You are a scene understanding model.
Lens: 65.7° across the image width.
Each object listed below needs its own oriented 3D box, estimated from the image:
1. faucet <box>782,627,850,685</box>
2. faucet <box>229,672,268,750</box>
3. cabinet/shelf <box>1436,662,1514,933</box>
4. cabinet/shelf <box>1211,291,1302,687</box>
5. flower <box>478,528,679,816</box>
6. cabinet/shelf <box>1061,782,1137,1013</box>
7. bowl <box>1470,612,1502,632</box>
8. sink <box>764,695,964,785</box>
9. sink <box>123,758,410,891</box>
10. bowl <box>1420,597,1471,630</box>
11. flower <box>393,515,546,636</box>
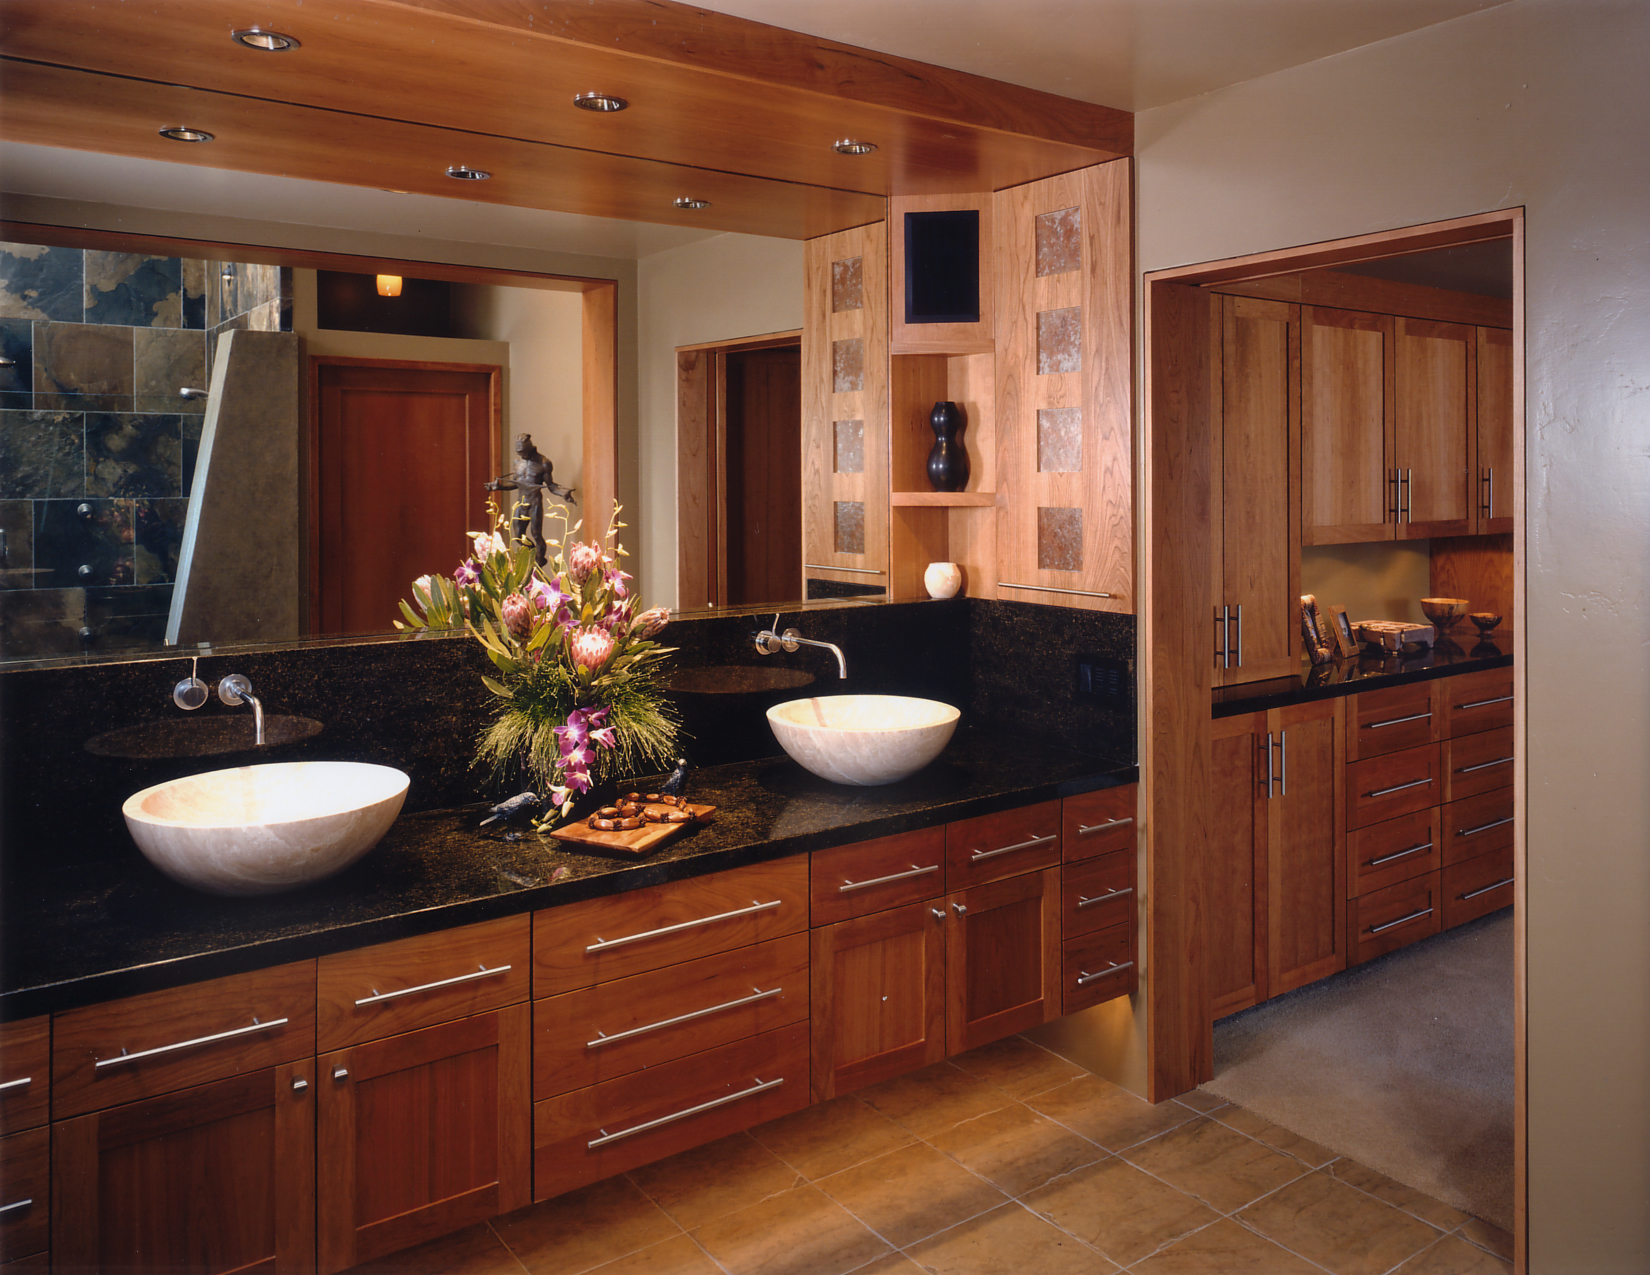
[{"bbox_3d":[-0.016,0.042,3.575,0.240,0.078,0.103,7,9,42],"label":"faucet"},{"bbox_3d":[-1.292,0.165,2.851,0.087,0.169,0.065,-6,15,-17],"label":"faucet"},{"bbox_3d":[2.363,0.599,4.658,0.197,0.940,0.545,12,19,43],"label":"cabinet/shelf"},{"bbox_3d":[1.406,-0.470,4.175,0.497,1.236,0.210,-15,19,-43],"label":"cabinet/shelf"},{"bbox_3d":[-0.590,0.057,3.158,0.547,0.665,0.535,-9,16,-30],"label":"flower"},{"bbox_3d":[0.752,0.706,3.506,0.359,0.581,0.100,-13,18,-39],"label":"cabinet/shelf"},{"bbox_3d":[2.609,-0.060,5.099,0.116,0.078,0.117,0,0,0],"label":"bowl"},{"bbox_3d":[0.097,0.263,3.419,0.482,0.184,0.511,-1,13,-3],"label":"sink"},{"bbox_3d":[-1.142,0.383,2.648,0.511,0.172,0.501,-13,18,-43],"label":"sink"},{"bbox_3d":[2.493,-0.093,5.160,0.161,0.100,0.144,0,3,-31],"label":"bowl"},{"bbox_3d":[-0.874,-0.120,3.163,0.268,0.126,0.322,-22,14,-28],"label":"flower"}]
